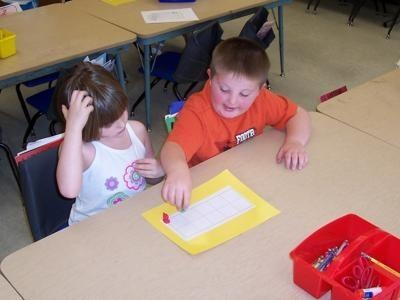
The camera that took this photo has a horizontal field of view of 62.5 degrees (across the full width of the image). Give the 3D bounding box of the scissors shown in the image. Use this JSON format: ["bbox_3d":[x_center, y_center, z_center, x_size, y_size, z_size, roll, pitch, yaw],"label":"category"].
[{"bbox_3d":[0.451,0.344,0.926,0.084,0.031,0.092,-16,64,25],"label":"scissors"}]
